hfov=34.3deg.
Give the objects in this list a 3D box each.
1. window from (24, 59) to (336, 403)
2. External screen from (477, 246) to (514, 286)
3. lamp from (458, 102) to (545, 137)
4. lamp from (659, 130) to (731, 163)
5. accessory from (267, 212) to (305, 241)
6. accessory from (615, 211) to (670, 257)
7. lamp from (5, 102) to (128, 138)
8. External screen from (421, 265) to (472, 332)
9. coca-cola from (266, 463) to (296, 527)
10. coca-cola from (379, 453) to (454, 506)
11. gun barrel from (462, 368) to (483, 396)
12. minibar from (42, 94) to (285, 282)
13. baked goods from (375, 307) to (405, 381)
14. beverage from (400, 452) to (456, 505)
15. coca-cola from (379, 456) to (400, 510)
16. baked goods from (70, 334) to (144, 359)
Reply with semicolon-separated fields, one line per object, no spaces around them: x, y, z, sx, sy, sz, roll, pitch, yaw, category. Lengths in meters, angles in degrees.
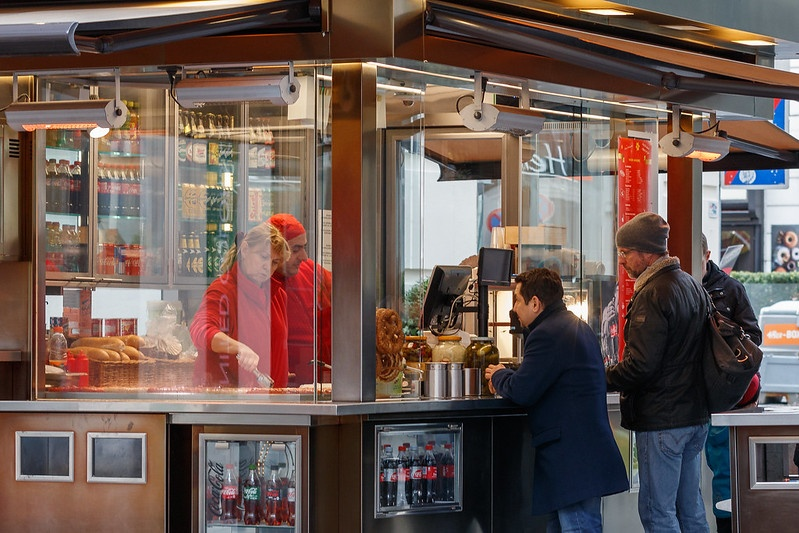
-1.472;-0.218;9.220;2.265;2.292;0.765;-1;-5;11;window
0.699;-0.006;9.500;0.293;0.279;0.131;0;0;-34;External screen
0.744;-1.080;9.319;0.589;0.203;0.264;2;-6;-39;lamp
2.308;-0.959;10.112;0.553;0.202;0.257;1;-6;-32;lamp
-0.791;-0.302;9.166;0.217;0.184;0.159;28;18;23;accessory
1.751;-0.244;9.351;0.335;0.282;0.257;-8;4;9;accessory
-2.335;-1.064;9.105;0.603;0.153;0.353;0;6;17;lamp
0.327;0.214;9.391;0.172;0.428;0.457;18;9;29;External screen
-0.806;1.582;8.938;0.280;0.434;0.070;-5;-6;31;coca-cola
0.095;1.494;9.128;0.378;0.345;0.127;2;-6;-32;coca-cola
0.532;0.822;9.249;0.147;0.196;0.036;0;-5;-18;gun barrel
-1.611;-0.568;9.263;1.287;1.256;0.429;0;-3;8;minibar
-0.068;0.547;9.171;0.229;0.522;0.065;2;-6;-34;baked goods
0.224;1.480;9.182;0.362;0.628;0.364;1;-8;-6;beverage
-0.069;1.498;9.050;0.155;0.347;0.031;3;-7;-44;coca-cola
-2.076;0.579;9.313;0.321;0.113;0.249;4;-2;5;baked goods
